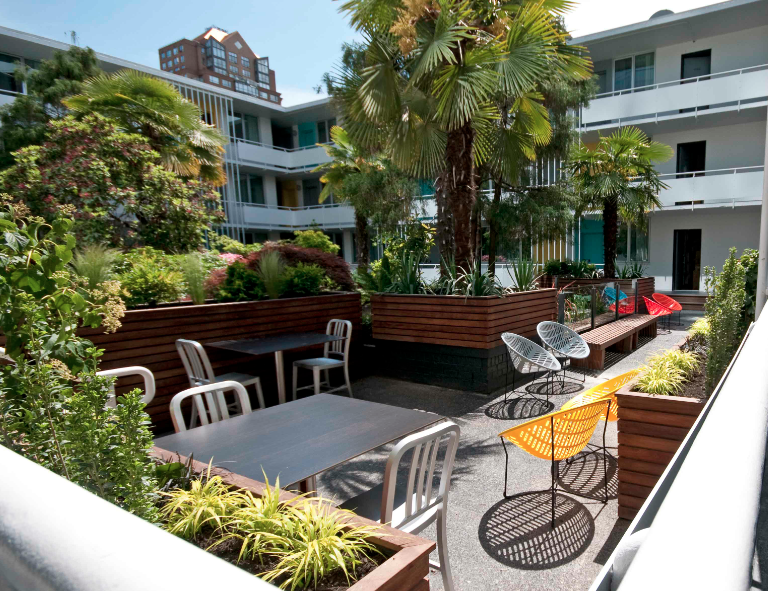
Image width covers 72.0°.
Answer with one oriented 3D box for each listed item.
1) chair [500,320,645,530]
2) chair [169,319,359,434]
[{"bbox_3d":[1.200,0.882,3.828,1.313,1.089,0.848,-10,14,-37],"label":"chair"},{"bbox_3d":[-0.986,0.676,4.767,1.273,0.745,1.295,2,7,34],"label":"chair"}]
